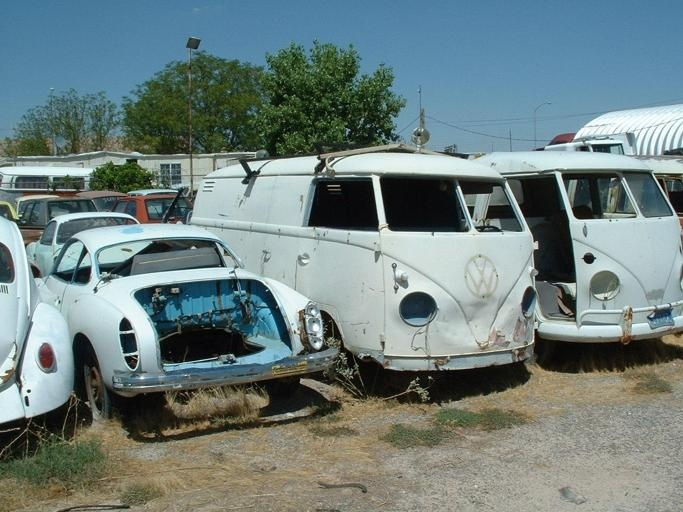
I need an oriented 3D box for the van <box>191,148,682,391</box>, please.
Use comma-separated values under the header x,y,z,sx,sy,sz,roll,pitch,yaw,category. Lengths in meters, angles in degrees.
x,y,z,sx,sy,sz,roll,pitch,yaw,category
0.177,-0.074,8.936,2.995,2.125,4.888,-4,6,-34,van
